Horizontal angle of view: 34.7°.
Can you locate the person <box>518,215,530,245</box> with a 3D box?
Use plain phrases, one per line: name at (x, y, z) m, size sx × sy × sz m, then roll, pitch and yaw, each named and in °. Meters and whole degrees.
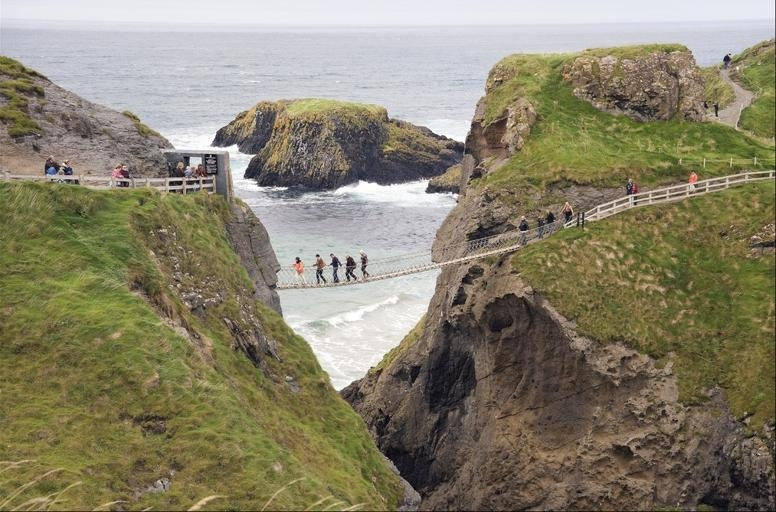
person at (12.174, -2.272, 111.767) m, size 0.901 × 2.490 × 1.263 m, roll 3°, pitch 17°, yaw 6°
